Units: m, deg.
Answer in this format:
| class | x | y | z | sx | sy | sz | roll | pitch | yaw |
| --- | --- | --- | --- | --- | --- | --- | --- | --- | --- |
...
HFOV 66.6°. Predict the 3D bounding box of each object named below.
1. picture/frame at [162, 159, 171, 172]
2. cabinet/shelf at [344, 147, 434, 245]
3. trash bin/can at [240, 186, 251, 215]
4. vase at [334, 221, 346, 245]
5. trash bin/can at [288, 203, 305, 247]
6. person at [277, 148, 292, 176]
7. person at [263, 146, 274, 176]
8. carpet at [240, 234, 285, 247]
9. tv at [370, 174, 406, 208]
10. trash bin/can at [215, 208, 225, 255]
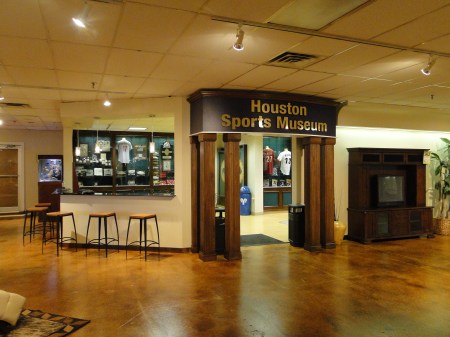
| class | x | y | z | sx | sy | sz | roll | pitch | yaw |
| --- | --- | --- | --- | --- | --- | --- | --- | --- | --- |
| picture/frame | -2.272 | -0.142 | 13.191 | 0.434 | 0.500 | 0.057 | 7 | -13 | -34 |
| cabinet/shelf | 4.143 | 0.731 | 8.835 | 2.511 | 2.676 | 0.926 | 0 | -2 | -20 |
| trash bin/can | 0.767 | 1.157 | 12.430 | 0.411 | 1.005 | 0.172 | -1 | 5 | -11 |
| vase | 2.732 | 1.534 | 8.278 | 0.301 | 0.531 | 0.192 | -1 | 5 | -17 |
| trash bin/can | 1.677 | 1.323 | 8.067 | 0.394 | 0.952 | 0.320 | 2 | 5 | 17 |
| person | 2.402 | -0.271 | 13.864 | 0.540 | 1.081 | 0.498 | 1 | 5 | 6 |
| person | 1.719 | -0.308 | 13.642 | 0.409 | 1.153 | 0.486 | 2 | 5 | 13 |
| carpet | 0.897 | 1.784 | 8.619 | 1.049 | 0.064 | 1.186 | 0 | 5 | -1 |
| tv | 4.150 | 0.575 | 8.829 | 0.913 | 0.867 | 0.455 | 0 | 0 | -16 |
| trash bin/can | -0.109 | 1.353 | 7.442 | 0.192 | 0.971 | 0.451 | 0 | 5 | -2 |
